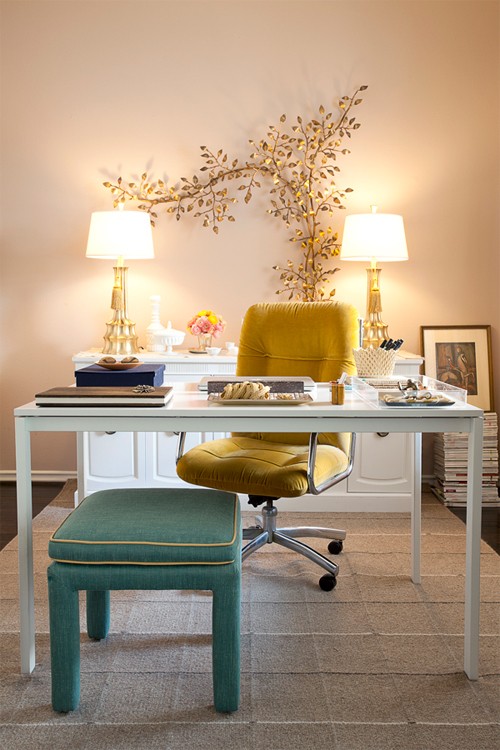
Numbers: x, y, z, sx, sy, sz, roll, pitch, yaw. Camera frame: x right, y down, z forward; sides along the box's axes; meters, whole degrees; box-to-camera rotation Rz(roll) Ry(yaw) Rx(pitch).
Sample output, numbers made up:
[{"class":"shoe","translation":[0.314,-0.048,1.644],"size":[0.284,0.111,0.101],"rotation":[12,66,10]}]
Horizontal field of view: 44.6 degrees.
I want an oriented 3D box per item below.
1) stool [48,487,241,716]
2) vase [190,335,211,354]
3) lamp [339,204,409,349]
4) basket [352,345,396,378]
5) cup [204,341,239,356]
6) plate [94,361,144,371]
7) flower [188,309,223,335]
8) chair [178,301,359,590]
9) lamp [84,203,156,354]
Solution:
[{"class":"stool","translation":[-0.208,0.504,1.479],"size":[0.403,0.388,0.473],"rotation":[-1,-3,0]},{"class":"vase","translation":[-0.259,-0.157,3.218],"size":[0.125,0.112,0.121],"rotation":[2,-4,-15]},{"class":"lamp","translation":[0.622,-0.506,3.066],"size":[0.306,0.712,0.478],"rotation":[0,2,10]},{"class":"basket","translation":[0.384,-0.040,1.883],"size":[0.098,0.063,0.101],"rotation":[1,-5,-9]},{"class":"cup","translation":[-0.140,-0.135,3.070],"size":[0.136,0.048,0.084],"rotation":[1,5,-24]},{"class":"plate","translation":[-0.404,-0.028,1.775],"size":[0.148,0.021,0.083],"rotation":[1,2,25]},{"class":"flower","translation":[-0.231,-0.265,3.039],"size":[0.132,0.117,0.136],"rotation":[-2,5,5]},{"class":"chair","translation":[0.090,0.208,2.102],"size":[0.632,0.921,0.578],"rotation":[-5,7,-40]},{"class":"lamp","translation":[-0.648,-0.502,3.100],"size":[0.323,0.810,0.483],"rotation":[-1,2,-9]}]
